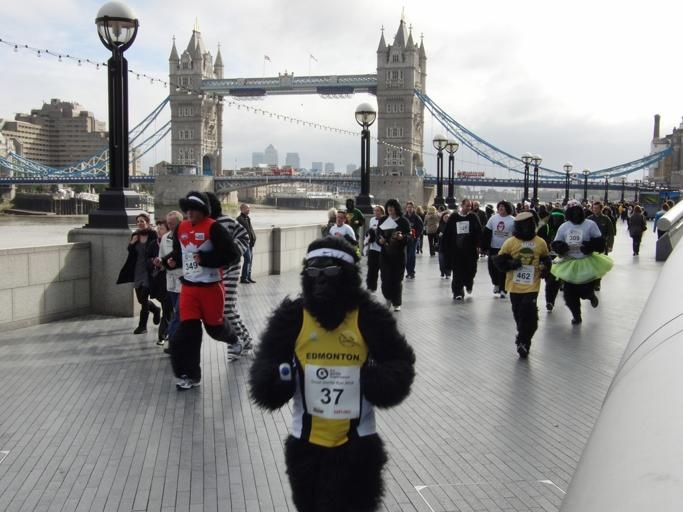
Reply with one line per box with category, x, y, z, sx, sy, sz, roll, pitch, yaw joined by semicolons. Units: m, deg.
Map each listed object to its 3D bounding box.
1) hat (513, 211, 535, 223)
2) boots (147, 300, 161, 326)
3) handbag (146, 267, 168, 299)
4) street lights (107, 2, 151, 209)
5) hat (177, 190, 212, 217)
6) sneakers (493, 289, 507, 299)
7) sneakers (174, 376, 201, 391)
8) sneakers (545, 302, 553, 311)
hat;2.533;-0.542;8.597;0.309;0.104;0.351;-2;13;26
boots;-2.687;0.813;8.922;0.116;0.413;0.277;-7;39;-9
handbag;-2.414;0.370;8.231;0.298;0.660;0.418;-1;4;-18
street lights;-3.610;-2.449;10.229;0.601;3.327;0.540;1;4;15
hat;-1.465;-0.533;6.253;0.309;0.236;0.480;-1;6;-15
sneakers;3.167;0.753;12.405;0.118;0.178;0.397;0;-6;3
sneakers;-1.550;1.282;6.296;0.251;0.138;0.095;7;-9;-43
sneakers;3.656;0.889;10.921;0.057;0.081;0.199;5;41;23
